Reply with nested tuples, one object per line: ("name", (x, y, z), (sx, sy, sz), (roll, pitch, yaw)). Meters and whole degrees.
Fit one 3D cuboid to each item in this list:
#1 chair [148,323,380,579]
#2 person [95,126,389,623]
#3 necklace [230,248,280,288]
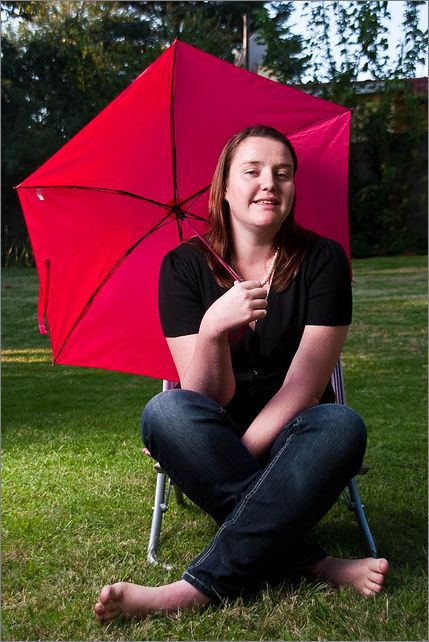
("chair", (0.067, 0.454, 2.039), (0.511, 0.810, 0.682), (-2, -12, 5))
("person", (0.053, 0.048, 1.610), (0.669, 1.197, 0.552), (1, 0, -10))
("necklace", (0.119, -0.134, 1.730), (0.031, 0.117, 0.099), (18, -9, -40))
